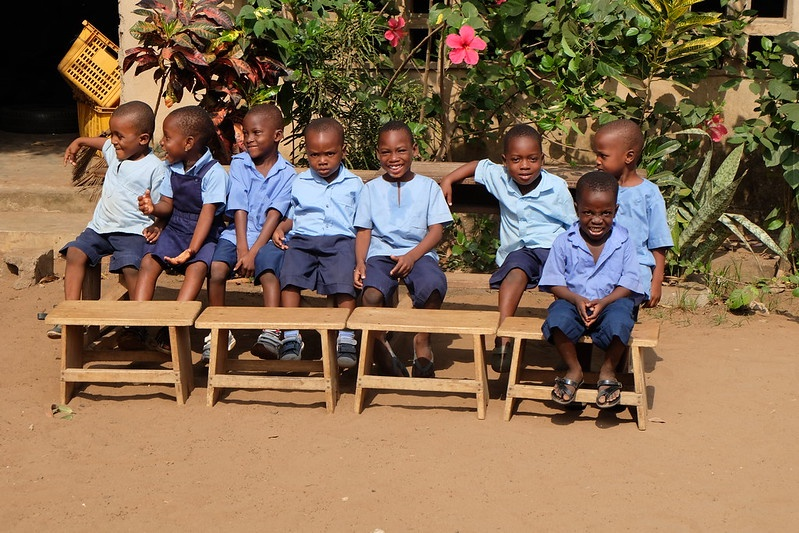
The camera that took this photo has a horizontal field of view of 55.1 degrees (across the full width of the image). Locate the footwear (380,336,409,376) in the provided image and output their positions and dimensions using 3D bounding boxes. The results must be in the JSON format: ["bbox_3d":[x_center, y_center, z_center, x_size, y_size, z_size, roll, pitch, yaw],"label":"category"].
[{"bbox_3d":[-0.063,0.608,5.299,0.122,0.146,0.376,-13,27,-12],"label":"footwear"}]

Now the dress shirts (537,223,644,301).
[{"bbox_3d":[1.220,-0.156,5.069,0.882,0.646,0.457,2,5,13],"label":"dress shirts"}]

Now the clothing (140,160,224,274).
[{"bbox_3d":[-1.547,-0.408,5.536,0.630,0.701,0.663,-12,23,-40],"label":"clothing"}]

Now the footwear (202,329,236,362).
[{"bbox_3d":[-1.326,0.588,5.548,0.165,0.185,0.428,-3,-10,-3],"label":"footwear"}]

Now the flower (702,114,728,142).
[{"bbox_3d":[2.848,-1.243,7.012,0.292,0.264,0.111,-5,-15,-9],"label":"flower"}]

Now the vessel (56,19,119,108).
[{"bbox_3d":[-3.562,-2.355,8.956,0.893,0.988,0.544,14,18,42],"label":"vessel"}]

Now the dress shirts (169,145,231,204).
[{"bbox_3d":[-1.397,-0.685,5.673,0.620,0.432,0.323,4,2,15],"label":"dress shirts"}]

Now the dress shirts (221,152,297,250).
[{"bbox_3d":[-1.055,-0.490,5.659,0.480,0.669,0.363,9,12,-17],"label":"dress shirts"}]

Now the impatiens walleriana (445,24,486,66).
[{"bbox_3d":[0.539,-1.812,6.272,0.312,0.303,0.252,2,13,1],"label":"impatiens walleriana"}]

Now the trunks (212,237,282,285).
[{"bbox_3d":[-1.042,-0.052,5.387,0.370,0.313,0.115,7,-8,7],"label":"trunks"}]

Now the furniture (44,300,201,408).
[{"bbox_3d":[-1.813,0.522,5.249,0.946,0.655,0.765,1,13,-6],"label":"furniture"}]

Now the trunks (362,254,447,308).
[{"bbox_3d":[0.043,0.091,5.271,0.440,0.160,0.408,0,30,-1],"label":"trunks"}]

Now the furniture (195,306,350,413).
[{"bbox_3d":[-0.778,0.625,5.126,1.046,0.551,0.482,0,6,9],"label":"furniture"}]

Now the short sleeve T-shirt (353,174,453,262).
[{"bbox_3d":[0.076,-0.370,5.658,1.012,0.805,0.522,0,5,4],"label":"short sleeve T-shirt"}]

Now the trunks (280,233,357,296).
[{"bbox_3d":[-0.564,-0.016,5.419,0.556,0.398,0.303,5,5,13],"label":"trunks"}]

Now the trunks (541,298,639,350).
[{"bbox_3d":[1.180,0.350,4.741,0.434,0.147,0.391,2,18,15],"label":"trunks"}]

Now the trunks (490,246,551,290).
[{"bbox_3d":[0.875,-0.012,5.368,0.274,0.118,0.349,18,55,13],"label":"trunks"}]

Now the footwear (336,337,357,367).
[{"bbox_3d":[-0.370,0.583,5.276,0.209,0.233,0.582,0,-5,-4],"label":"footwear"}]

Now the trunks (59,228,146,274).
[{"bbox_3d":[-2.094,-0.134,5.549,0.413,0.150,0.431,7,6,16],"label":"trunks"}]
